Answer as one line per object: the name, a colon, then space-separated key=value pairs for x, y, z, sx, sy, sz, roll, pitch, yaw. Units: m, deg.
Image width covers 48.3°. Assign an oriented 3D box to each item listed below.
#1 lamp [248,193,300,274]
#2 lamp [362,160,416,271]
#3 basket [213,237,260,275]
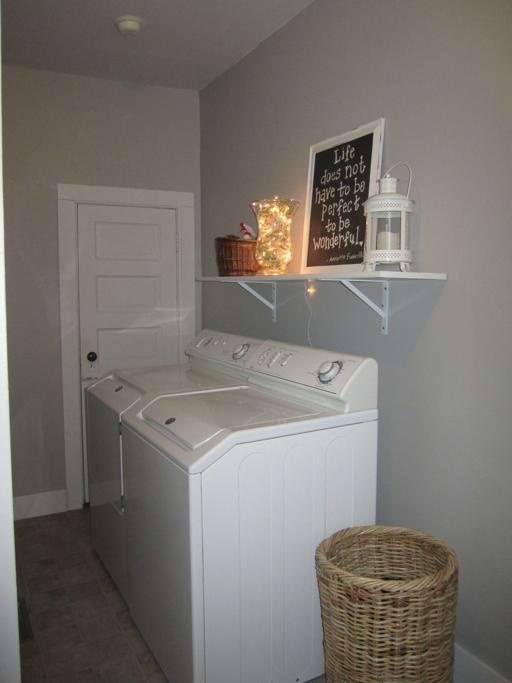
lamp: x=0.064 y=-0.406 z=2.214 sx=0.153 sy=0.299 sz=0.252 roll=-4 pitch=7 yaw=-32
lamp: x=0.388 y=-0.347 z=1.655 sx=0.145 sy=0.285 sz=0.142 roll=0 pitch=6 yaw=0
basket: x=-0.086 y=-0.348 z=2.371 sx=0.160 sy=0.124 sz=0.164 roll=-2 pitch=0 yaw=32
